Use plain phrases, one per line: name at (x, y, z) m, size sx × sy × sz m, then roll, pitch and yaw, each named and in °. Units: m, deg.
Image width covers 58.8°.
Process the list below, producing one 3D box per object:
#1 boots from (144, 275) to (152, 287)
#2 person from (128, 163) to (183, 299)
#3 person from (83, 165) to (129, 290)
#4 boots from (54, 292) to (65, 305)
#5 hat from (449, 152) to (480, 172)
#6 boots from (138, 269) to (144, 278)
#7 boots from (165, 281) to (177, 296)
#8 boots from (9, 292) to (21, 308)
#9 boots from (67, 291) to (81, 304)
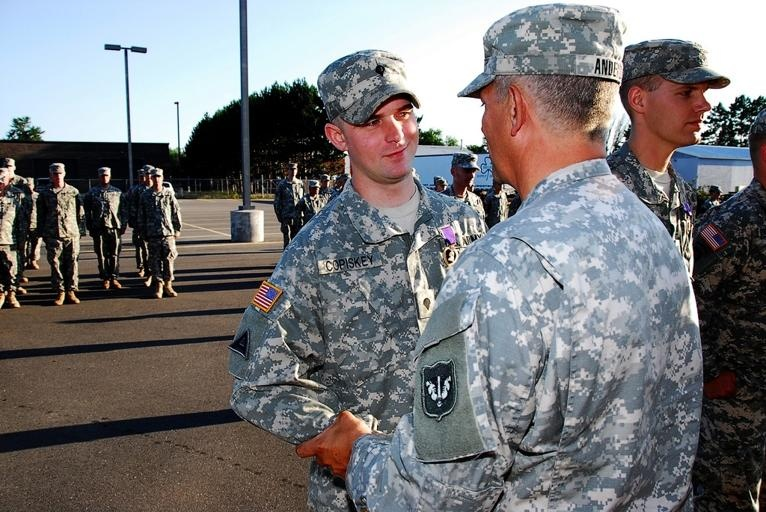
boots at (-4.330, 0.450, 12.503) m, size 0.051 × 0.110 × 0.216 m, roll 21°, pitch 32°, yaw -29°
person at (-3.758, -0.323, 11.441) m, size 0.671 × 1.848 × 1.277 m, roll -3°, pitch 10°, yaw -20°
person at (-5.064, -0.532, 12.411) m, size 0.703 × 2.067 × 1.460 m, roll -4°, pitch 10°, yaw -23°
boots at (-5.064, 0.635, 10.636) m, size 0.147 × 0.186 × 0.335 m, roll -4°, pitch 10°, yaw -25°
hat at (1.173, -1.422, 10.119) m, size 0.300 × 0.211 × 0.382 m, roll -2°, pitch 8°, yaw -38°
boots at (-4.791, 0.324, 13.453) m, size 0.147 × 0.160 × 0.233 m, roll 3°, pitch 1°, yaw 5°
boots at (-3.503, 0.507, 11.234) m, size 0.188 × 0.241 × 0.380 m, roll -3°, pitch 10°, yaw -19°
boots at (-5.707, 0.624, 10.525) m, size 0.102 × 0.123 × 0.428 m, roll -14°, pitch 42°, yaw -7°
boots at (-4.883, 0.631, 10.700) m, size 0.180 × 0.178 × 0.263 m, roll -4°, pitch 10°, yaw -26°
